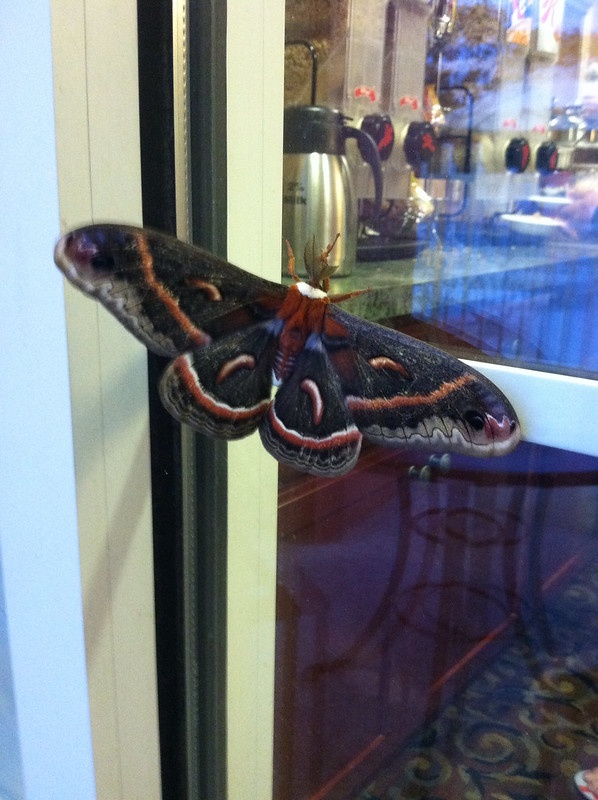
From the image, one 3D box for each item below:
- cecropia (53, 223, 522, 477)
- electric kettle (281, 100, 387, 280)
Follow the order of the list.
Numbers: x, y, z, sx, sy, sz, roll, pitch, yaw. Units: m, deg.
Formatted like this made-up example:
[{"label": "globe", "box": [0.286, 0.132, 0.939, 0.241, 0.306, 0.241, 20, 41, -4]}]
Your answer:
[{"label": "cecropia", "box": [-0.027, -0.002, 0.507, 0.301, 0.147, 0.074, 24, -1, 16]}, {"label": "electric kettle", "box": [0.029, -0.131, 0.634, 0.079, 0.127, 0.071, 19, 29, 33]}]
